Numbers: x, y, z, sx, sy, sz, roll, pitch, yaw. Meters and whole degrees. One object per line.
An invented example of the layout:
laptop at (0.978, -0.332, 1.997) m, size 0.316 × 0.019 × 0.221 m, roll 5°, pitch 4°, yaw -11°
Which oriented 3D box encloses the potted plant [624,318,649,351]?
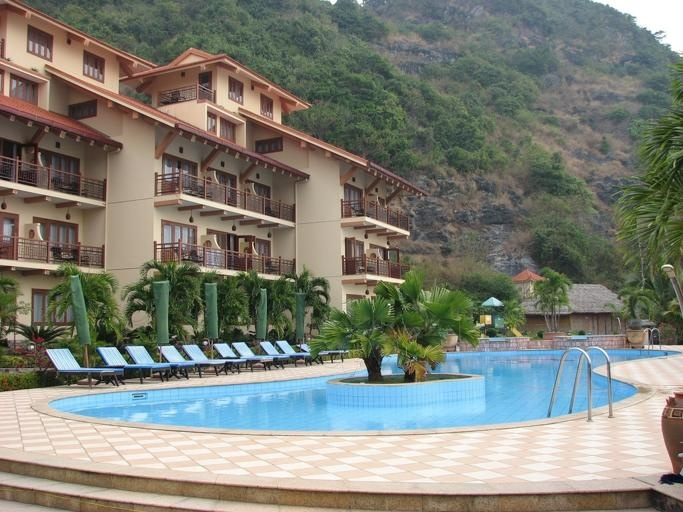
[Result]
potted plant at (17.373, 4.484, 42.655) m, size 1.203 × 1.669 × 1.497 m, roll -4°, pitch -6°, yaw 21°

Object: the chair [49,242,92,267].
chair at (-10.880, -0.085, 28.864) m, size 0.814 × 0.878 × 2.118 m, roll -3°, pitch -6°, yaw 6°
